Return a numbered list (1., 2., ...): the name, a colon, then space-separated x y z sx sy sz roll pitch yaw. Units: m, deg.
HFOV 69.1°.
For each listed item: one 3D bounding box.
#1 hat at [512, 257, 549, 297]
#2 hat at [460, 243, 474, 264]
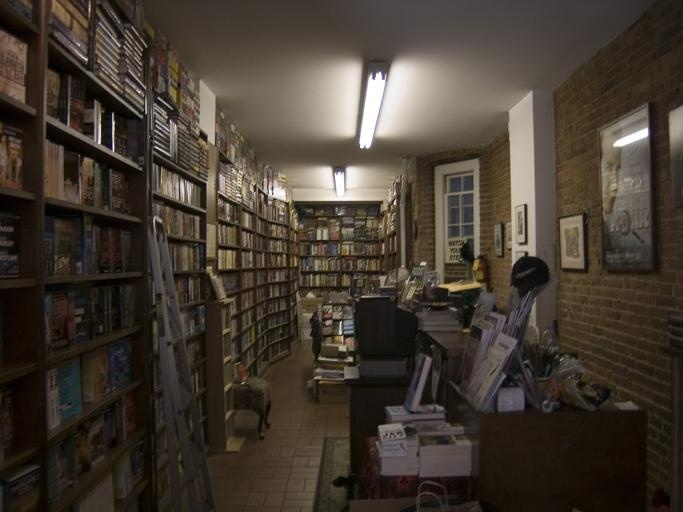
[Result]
1. hat: 1.044 0.112 2.742 0.206 0.215 0.145 1 2 24
2. hat: 1.868 -0.040 7.321 0.151 0.333 0.197 2 9 -14
